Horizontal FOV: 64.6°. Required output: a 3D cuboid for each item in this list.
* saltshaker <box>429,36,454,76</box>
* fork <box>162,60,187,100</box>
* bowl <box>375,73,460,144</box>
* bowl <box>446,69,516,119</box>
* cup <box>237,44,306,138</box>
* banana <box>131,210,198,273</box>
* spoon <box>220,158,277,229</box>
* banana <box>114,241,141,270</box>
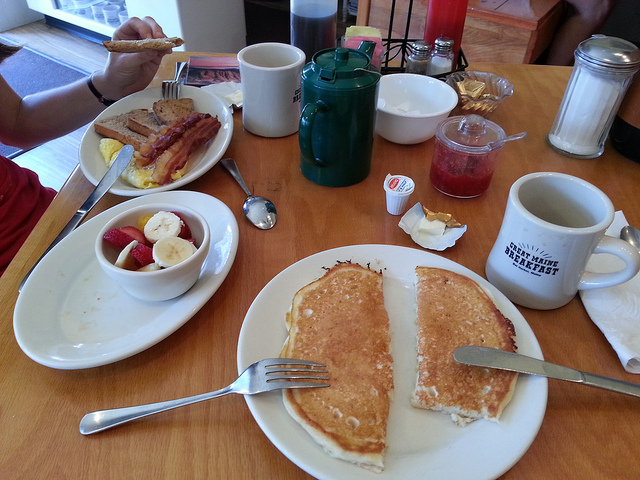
[{"bbox_3d":[0.358,-0.531,1.481,0.072,0.106,0.091,10,50,11],"label":"saltshaker"},{"bbox_3d":[-0.424,-0.486,1.491,0.044,0.031,0.265,0,46,-7],"label":"fork"},{"bbox_3d":[0.246,-0.353,1.328,0.204,0.089,0.208,1,47,-1],"label":"bowl"},{"bbox_3d":[0.441,-0.405,1.430,0.186,0.089,0.204,3,34,-2],"label":"bowl"},{"bbox_3d":[-0.121,-0.373,1.305,0.151,0.180,0.253,-4,45,-5],"label":"cup"},{"bbox_3d":[-0.301,0.042,0.990,0.098,0.165,0.025,5,37,-29],"label":"banana"},{"bbox_3d":[-0.157,-0.109,1.172,0.066,0.028,0.268,-19,53,-10],"label":"spoon"},{"bbox_3d":[-0.367,0.027,0.963,0.048,0.013,0.050,41,54,9],"label":"banana"}]
